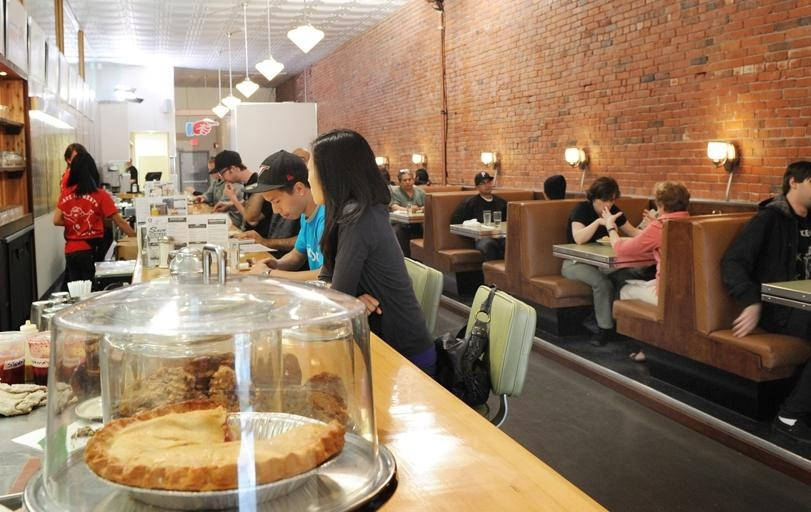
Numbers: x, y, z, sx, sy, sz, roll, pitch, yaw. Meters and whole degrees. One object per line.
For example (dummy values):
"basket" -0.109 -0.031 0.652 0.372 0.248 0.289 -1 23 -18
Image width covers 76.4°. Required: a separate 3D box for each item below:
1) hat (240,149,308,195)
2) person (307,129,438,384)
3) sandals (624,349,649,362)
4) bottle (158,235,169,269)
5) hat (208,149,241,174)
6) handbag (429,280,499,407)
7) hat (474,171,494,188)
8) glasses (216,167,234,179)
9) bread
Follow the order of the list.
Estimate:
"hat" -0.822 -0.537 3.230 0.419 0.249 0.372 10 18 41
"person" -0.152 -0.007 2.428 0.591 1.154 0.288 0 15 6
"sandals" 2.136 0.914 4.730 0.126 0.061 0.151 -1 -1 -4
"bottle" -1.757 -0.032 3.757 0.103 0.216 0.138 -9 16 -26
"hat" -2.288 -1.215 6.732 0.528 0.280 0.349 -13 18 -15
"handbag" 0.286 0.436 2.445 0.298 0.581 0.362 -6 15 -16
"hat" 1.128 -1.121 7.539 0.253 0.168 0.346 -20 1 -9
"glasses" -2.323 -1.077 6.680 0.131 0.162 0.070 8 38 -6
"bread" -0.415 0.385 1.104 0.543 0.171 0.184 -1 14 1
